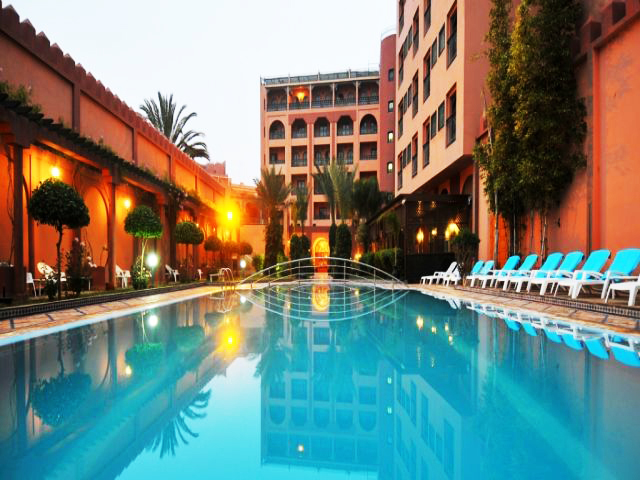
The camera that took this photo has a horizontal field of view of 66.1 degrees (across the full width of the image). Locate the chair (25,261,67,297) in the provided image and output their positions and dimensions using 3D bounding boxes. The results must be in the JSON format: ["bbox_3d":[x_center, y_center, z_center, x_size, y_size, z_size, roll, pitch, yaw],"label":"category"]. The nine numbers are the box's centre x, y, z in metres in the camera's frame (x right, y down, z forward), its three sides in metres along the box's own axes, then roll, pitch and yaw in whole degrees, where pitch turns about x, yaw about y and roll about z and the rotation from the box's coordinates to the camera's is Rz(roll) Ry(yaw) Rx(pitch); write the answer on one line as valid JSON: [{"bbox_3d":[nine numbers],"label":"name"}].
[{"bbox_3d":[-6.188,0.875,11.043,0.571,1.065,0.624,4,-10,-44],"label":"chair"}]
